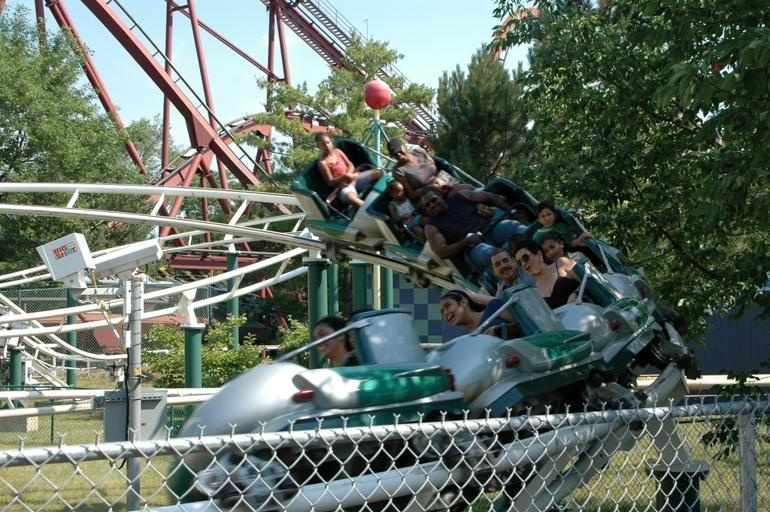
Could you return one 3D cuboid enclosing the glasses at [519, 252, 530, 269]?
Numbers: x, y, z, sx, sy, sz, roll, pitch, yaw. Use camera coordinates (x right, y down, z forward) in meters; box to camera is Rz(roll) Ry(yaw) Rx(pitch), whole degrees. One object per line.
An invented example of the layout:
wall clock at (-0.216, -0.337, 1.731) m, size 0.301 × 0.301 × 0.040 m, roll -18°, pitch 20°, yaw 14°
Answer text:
glasses at (1.746, 0.054, 13.044) m, size 0.056 × 0.167 × 0.159 m, roll 27°, pitch -34°, yaw -37°
